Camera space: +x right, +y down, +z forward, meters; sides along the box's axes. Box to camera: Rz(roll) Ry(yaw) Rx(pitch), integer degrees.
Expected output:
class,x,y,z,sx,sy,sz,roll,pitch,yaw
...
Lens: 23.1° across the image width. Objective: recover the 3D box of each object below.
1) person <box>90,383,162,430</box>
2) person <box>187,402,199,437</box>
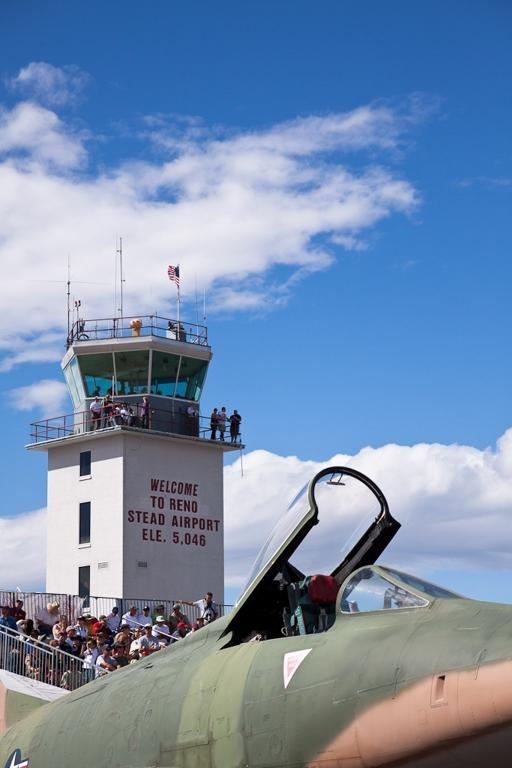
class,x,y,z,sx,sy,sz,roll,pitch,yaw
person,-4.735,0.858,44.673,1.564,1.019,1.600,2,-2,-39
person,-2.366,1.334,46.760,0.343,0.816,0.935,-11,-6,8
